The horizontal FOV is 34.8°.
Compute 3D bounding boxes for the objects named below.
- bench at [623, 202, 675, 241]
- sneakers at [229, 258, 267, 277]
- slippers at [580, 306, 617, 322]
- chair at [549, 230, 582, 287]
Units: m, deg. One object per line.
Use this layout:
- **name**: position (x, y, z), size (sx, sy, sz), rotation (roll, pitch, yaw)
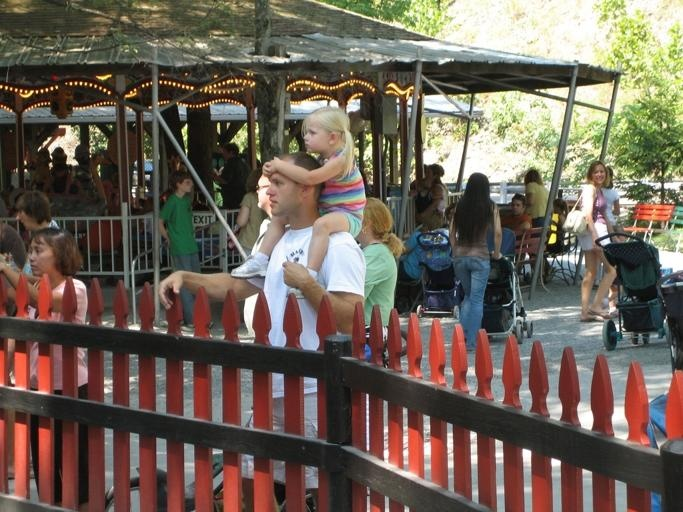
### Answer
- **bench**: position (7.134, -0.772, 25.008), size (0.821, 0.739, 1.181), rotation (-6, 5, -34)
- **sneakers**: position (-0.610, 0.083, 7.156), size (0.259, 0.140, 0.102), rotation (1, 3, 3)
- **slippers**: position (3.202, 0.773, 13.609), size (0.487, 0.147, 0.208), rotation (-17, -10, 41)
- **chair**: position (3.618, 0.069, 17.560), size (0.286, 0.598, 0.819), rotation (2, 4, 21)
